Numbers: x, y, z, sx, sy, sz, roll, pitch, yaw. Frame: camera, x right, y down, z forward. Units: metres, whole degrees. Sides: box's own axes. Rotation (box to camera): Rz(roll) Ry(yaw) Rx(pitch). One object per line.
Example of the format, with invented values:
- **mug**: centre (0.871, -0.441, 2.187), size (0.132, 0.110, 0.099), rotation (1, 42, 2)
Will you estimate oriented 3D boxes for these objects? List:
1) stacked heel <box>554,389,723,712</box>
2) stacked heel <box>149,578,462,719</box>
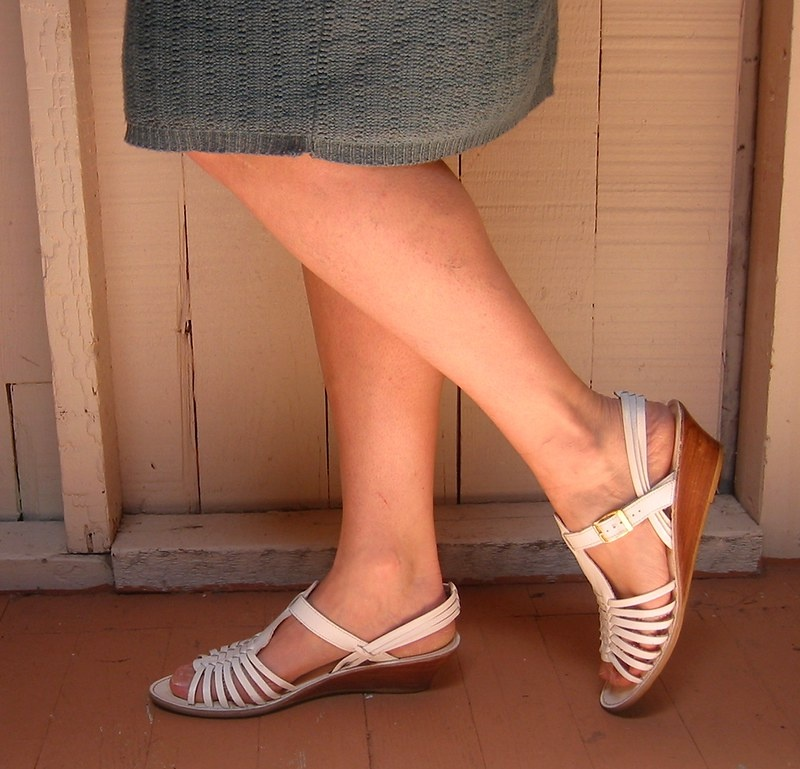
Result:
- **stacked heel**: centre (0.266, 0.179, 0.887), size (0.119, 0.347, 0.163), rotation (18, 29, 38)
- **stacked heel**: centre (-0.090, 0.295, 0.975), size (0.409, 0.118, 0.126), rotation (-2, 9, -9)
